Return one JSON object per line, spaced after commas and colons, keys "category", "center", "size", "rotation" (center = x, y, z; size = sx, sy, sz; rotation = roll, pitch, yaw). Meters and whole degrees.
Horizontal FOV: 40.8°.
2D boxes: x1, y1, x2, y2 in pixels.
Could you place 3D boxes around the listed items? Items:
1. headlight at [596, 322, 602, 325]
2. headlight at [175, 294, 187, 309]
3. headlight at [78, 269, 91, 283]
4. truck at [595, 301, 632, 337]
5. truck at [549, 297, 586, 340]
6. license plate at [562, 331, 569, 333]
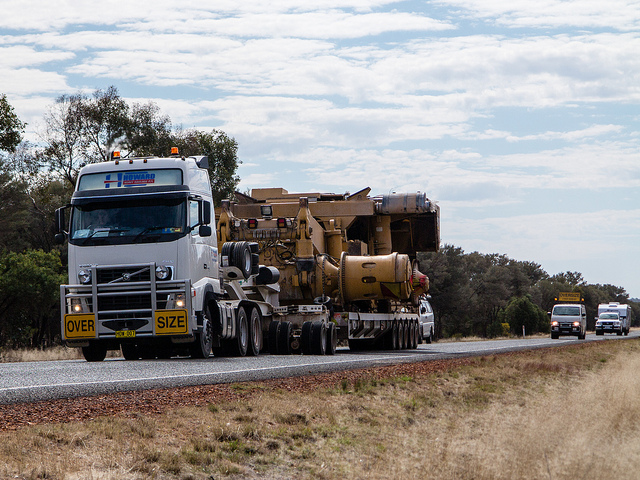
{"category": "headlight", "center": [19.286, 5.706, 59.062], "size": [0.236, 0.184, 0.261], "rotation": [0, -7, 1]}
{"category": "headlight", "center": [-3.019, 1.321, 18.628], "size": [0.256, 0.289, 0.070], "rotation": [3, -5, 3]}
{"category": "headlight", "center": [-5.160, 0.775, 18.719], "size": [0.334, 0.285, 0.073], "rotation": [-1, 1, 27]}
{"category": "truck", "center": [20.953, 5.574, 60.909], "size": [1.951, 2.202, 4.414], "rotation": [-2, -9, 14]}
{"category": "truck", "center": [14.376, 4.464, 49.659], "size": [1.975, 2.389, 3.796], "rotation": [-1, -9, 11]}
{"category": "license plate", "center": [13.943, 5.165, 48.514], "size": [0.363, 0.136, 0.565], "rotation": [-1, 0, 13]}
